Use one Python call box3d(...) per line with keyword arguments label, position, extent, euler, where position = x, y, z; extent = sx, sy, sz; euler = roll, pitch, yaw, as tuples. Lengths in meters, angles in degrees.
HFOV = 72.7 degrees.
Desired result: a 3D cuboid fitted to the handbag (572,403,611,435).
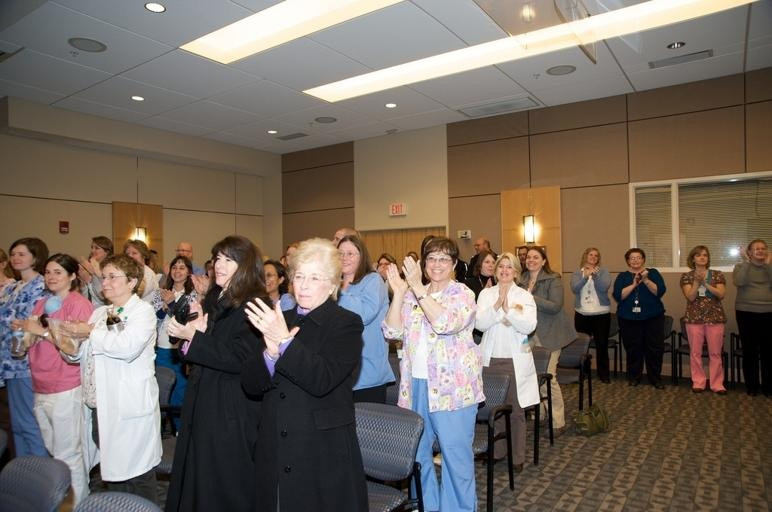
box3d(label="handbag", position=(2.669, 2.090, 6.824), extent=(0.494, 0.372, 0.261), euler=(-8, 4, -30))
